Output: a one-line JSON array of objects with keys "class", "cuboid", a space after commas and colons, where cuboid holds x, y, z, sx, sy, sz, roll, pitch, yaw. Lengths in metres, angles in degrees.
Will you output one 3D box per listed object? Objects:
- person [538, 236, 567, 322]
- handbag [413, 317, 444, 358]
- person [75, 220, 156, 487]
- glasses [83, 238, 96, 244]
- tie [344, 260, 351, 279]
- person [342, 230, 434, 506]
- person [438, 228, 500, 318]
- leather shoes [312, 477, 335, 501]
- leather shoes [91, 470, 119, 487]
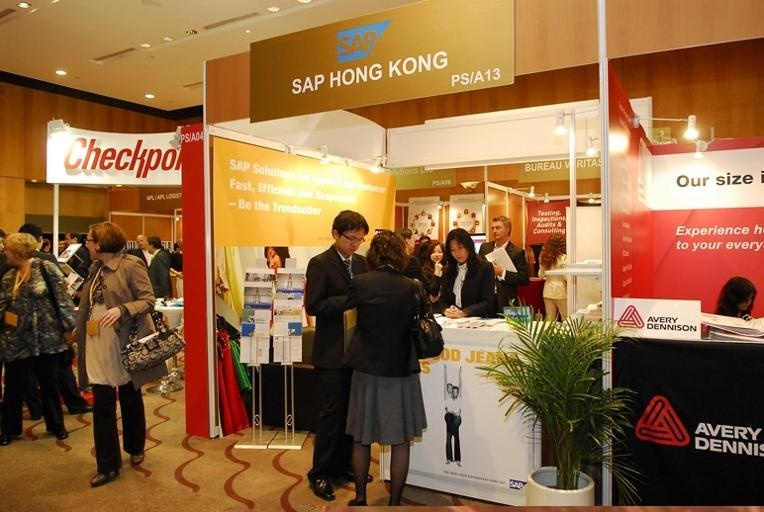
[{"class": "person", "cuboid": [2.312, 0.363, 7.947, 0.353, 1.234, 0.736, 1, 8, 16]}, {"class": "handbag", "cuboid": [0.350, 0.635, 4.477, 0.167, 0.319, 0.324, -4, 3, 19]}, {"class": "person", "cuboid": [-2.328, 0.833, 5.243, 0.658, 2.226, 0.495, -6, 9, -29]}, {"class": "glasses", "cuboid": [-3.005, -0.149, 6.054, 0.104, 0.033, 0.110, 3, 1, -1]}, {"class": "tie", "cuboid": [-0.281, 0.102, 5.022, 0.029, 0.118, 0.082, -11, -9, 42]}, {"class": "person", "cuboid": [0.058, 0.922, 4.611, 0.665, 2.175, 0.387, -1, 8, 5]}, {"class": "person", "cuboid": [0.806, 0.165, 5.583, 0.580, 0.827, 0.441, 2, 9, 22]}, {"class": "leather shoes", "cuboid": [-0.470, 1.961, 4.890, 0.102, 0.077, 0.205, 5, -3, -35]}, {"class": "leather shoes", "cuboid": [-2.387, 1.946, 5.116, 0.084, 0.106, 0.234, 1, -6, 38]}]
